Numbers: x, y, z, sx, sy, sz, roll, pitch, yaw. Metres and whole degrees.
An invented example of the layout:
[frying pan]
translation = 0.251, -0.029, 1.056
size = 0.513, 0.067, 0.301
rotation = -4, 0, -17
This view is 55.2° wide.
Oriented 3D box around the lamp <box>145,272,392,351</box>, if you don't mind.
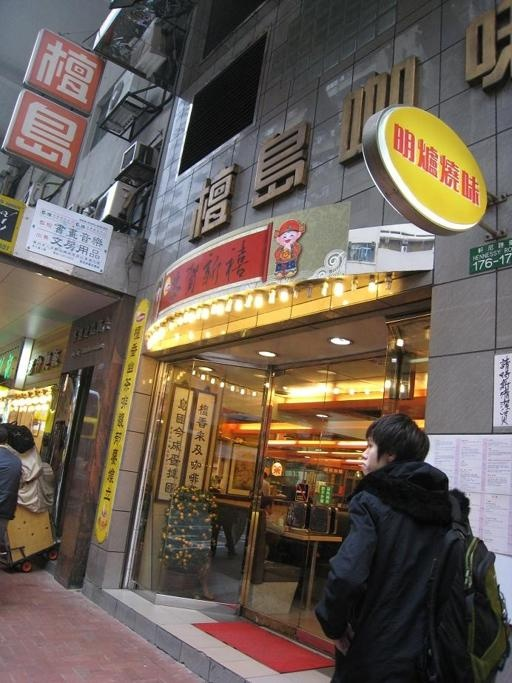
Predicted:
[lamp]
translation = -0.064, -0.270, 4.192
size = 0.449, 0.263, 2.904
rotation = 18, -17, -32
